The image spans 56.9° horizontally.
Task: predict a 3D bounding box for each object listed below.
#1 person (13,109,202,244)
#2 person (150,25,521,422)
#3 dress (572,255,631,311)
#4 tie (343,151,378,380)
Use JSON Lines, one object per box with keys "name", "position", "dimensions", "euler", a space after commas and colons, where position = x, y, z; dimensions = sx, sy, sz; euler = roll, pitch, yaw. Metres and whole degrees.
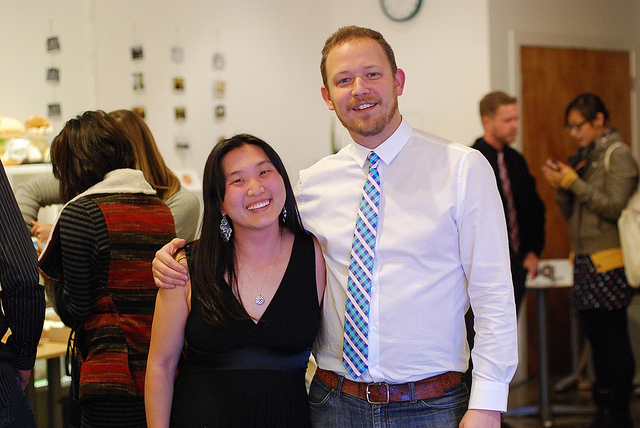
{"name": "person", "position": [-1.381, -0.212, 3.516], "dimensions": [1.093, 0.561, 0.872], "euler": [1, 9, 23]}
{"name": "person", "position": [0.344, 0.032, 2.562], "dimensions": [0.950, 1.693, 0.313], "euler": [-1, 3, 19]}
{"name": "dress", "position": [1.637, 0.390, 3.400], "dimensions": [0.190, 0.375, 0.253], "euler": [-8, -3, -43]}
{"name": "tie", "position": [0.191, 0.213, 2.561], "dimensions": [0.126, 0.957, 0.201], "euler": [-1, 4, 26]}
